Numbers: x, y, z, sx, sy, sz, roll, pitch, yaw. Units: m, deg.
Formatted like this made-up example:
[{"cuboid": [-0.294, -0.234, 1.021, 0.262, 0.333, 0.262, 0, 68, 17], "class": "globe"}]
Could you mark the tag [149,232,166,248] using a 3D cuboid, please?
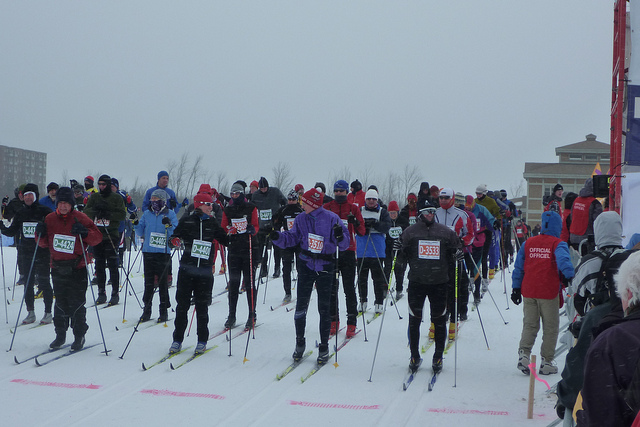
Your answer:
[{"cuboid": [-3.246, 0.538, 12.967, 0.261, 0.218, 0.029, 3, -5, 2], "class": "tag"}]

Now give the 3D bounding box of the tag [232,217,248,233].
[{"cuboid": [-1.547, 0.233, 12.573, 0.245, 0.275, 0.042, 6, -19, -21], "class": "tag"}]

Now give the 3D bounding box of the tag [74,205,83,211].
[{"cuboid": [-5.223, -0.127, 14.075, 0.112, 0.143, 0.137, 0, -17, -1], "class": "tag"}]

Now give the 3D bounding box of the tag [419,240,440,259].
[{"cuboid": [1.783, 0.589, 10.466, 0.264, 0.260, 0.031, 1, -5, 12], "class": "tag"}]

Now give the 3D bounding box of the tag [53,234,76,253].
[{"cuboid": [-4.468, 0.533, 11.344, 0.270, 0.238, 0.041, 5, -12, 5], "class": "tag"}]

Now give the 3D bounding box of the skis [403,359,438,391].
[{"cuboid": [1.592, 2.585, 10.007, 0.179, 0.208, 1.643, 2, 5, 20], "class": "skis"}]

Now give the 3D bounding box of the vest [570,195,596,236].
[{"cuboid": [5.566, 0.048, 13.646, 0.429, 0.802, 0.663, -3, 13, -16], "class": "vest"}]

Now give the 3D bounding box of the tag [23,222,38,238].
[{"cuboid": [-5.612, 0.304, 12.601, 0.231, 0.304, 0.042, 7, 10, 12], "class": "tag"}]

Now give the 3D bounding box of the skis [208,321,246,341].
[{"cuboid": [-1.729, 2.314, 12.483, 0.224, 0.040, 0.881, 23, 30, 40], "class": "skis"}]

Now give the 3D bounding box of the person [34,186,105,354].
[{"cuboid": [-4.416, 0.972, 11.491, 1.000, 2.812, 0.771, -1, 9, -7], "class": "person"}]

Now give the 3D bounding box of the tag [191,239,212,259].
[{"cuboid": [-2.059, 0.626, 11.248, 0.307, 0.389, 0.037, 1, -19, -17], "class": "tag"}]

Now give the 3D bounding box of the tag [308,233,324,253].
[{"cuboid": [-0.058, 0.504, 10.936, 0.259, 0.295, 0.038, 6, 4, 14], "class": "tag"}]

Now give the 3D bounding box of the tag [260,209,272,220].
[{"cuboid": [-1.258, 0.022, 15.256, 0.209, 0.177, 0.217, 1, -2, -3], "class": "tag"}]

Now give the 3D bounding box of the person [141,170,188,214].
[{"cuboid": [-3.621, -0.204, 15.013, 1.081, 1.605, 0.618, 4, 4, -20], "class": "person"}]

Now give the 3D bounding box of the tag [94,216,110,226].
[{"cuboid": [-4.610, 0.161, 13.801, 0.268, 0.165, 0.196, -4, -2, -23], "class": "tag"}]

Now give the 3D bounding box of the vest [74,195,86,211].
[{"cuboid": [-5.455, -0.236, 14.754, 0.230, 0.397, 0.360, 0, 4, 9], "class": "vest"}]

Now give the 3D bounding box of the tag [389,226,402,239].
[{"cuboid": [1.687, 0.408, 14.370, 0.274, 0.261, 0.046, 0, -4, -37], "class": "tag"}]

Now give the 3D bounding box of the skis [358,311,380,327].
[{"cuboid": [1.053, 2.171, 13.837, 0.163, 0.198, 1.713, -21, 0, -4], "class": "skis"}]

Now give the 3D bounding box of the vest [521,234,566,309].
[{"cuboid": [3.626, 0.936, 10.530, 0.503, 1.195, 0.565, 0, 0, 0], "class": "vest"}]
